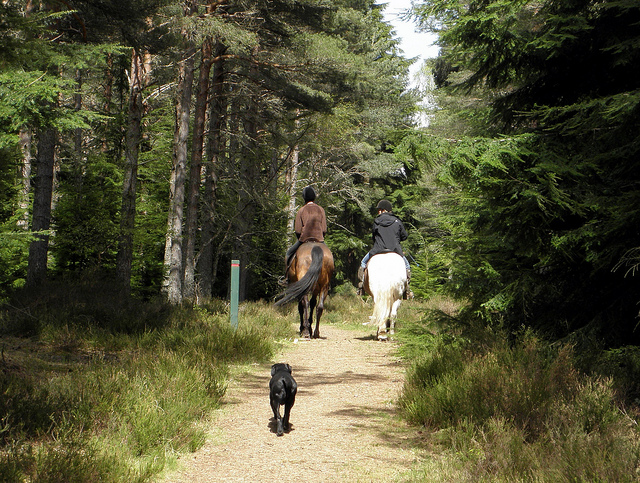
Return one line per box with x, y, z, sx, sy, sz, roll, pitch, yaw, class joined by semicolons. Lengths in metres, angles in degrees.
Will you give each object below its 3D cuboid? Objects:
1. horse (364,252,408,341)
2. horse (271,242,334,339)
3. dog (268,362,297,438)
1.684;1.462;17.203;1.102;2.471;1.184;6;8;7;horse
-0.364;1.289;16.996;1.253;2.532;1.796;5;8;4;horse
-0.554;2.319;9.689;0.382;0.840;0.758;4;8;-4;dog
